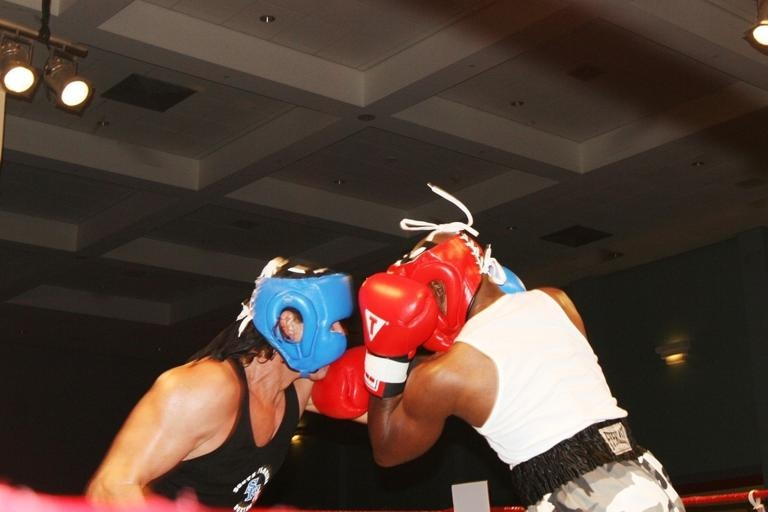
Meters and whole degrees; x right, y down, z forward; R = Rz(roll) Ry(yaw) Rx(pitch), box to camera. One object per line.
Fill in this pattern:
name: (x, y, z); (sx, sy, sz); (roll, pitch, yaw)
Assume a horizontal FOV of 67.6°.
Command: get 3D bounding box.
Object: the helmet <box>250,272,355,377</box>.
helmet: (-0.275, 0.232, 2.044); (0.379, 0.349, 0.296); (-5, -1, 15)
